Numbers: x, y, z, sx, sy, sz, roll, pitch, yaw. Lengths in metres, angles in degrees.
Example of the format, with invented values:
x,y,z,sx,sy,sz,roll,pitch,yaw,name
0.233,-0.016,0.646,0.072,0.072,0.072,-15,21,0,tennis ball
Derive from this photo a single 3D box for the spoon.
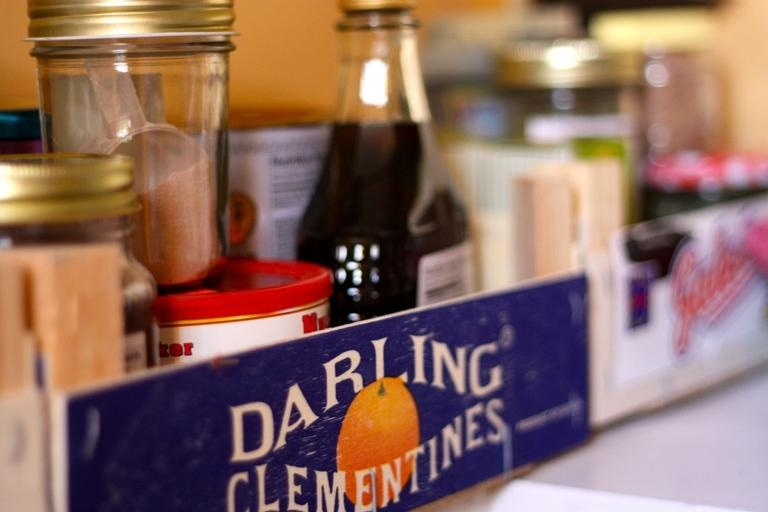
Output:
x,y,z,sx,sy,sz,roll,pitch,yaw,name
-0.136,-0.087,0.498,0.083,0.083,0.049,19,40,29,spoon

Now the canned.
x,y,z,sx,sy,sz,roll,pitch,yaw,name
-0.063,-0.045,0.564,0.073,0.084,0.078,1,4,-2,canned
